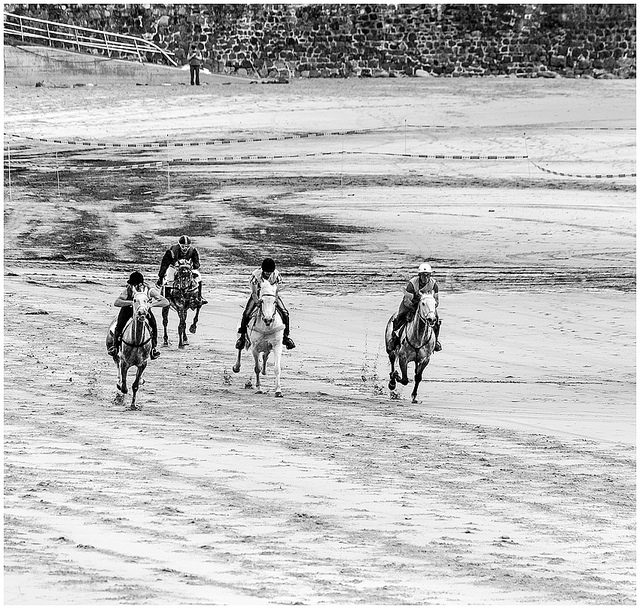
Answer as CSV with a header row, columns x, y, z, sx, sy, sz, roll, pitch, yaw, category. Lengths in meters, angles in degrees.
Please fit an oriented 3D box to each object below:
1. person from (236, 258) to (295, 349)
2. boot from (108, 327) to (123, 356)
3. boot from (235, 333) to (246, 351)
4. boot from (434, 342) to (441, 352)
x,y,z,sx,sy,sz,roll,pitch,yaw,category
-0.956,-0.035,32.965,0.846,1.934,0.933,-6,19,-16,person
-3.699,0.652,31.753,0.153,0.622,0.165,8,5,-32,boot
-1.520,0.700,33.786,0.167,0.431,0.587,0,14,-3,boot
2.178,0.804,33.094,0.104,0.217,0.273,2,14,4,boot
